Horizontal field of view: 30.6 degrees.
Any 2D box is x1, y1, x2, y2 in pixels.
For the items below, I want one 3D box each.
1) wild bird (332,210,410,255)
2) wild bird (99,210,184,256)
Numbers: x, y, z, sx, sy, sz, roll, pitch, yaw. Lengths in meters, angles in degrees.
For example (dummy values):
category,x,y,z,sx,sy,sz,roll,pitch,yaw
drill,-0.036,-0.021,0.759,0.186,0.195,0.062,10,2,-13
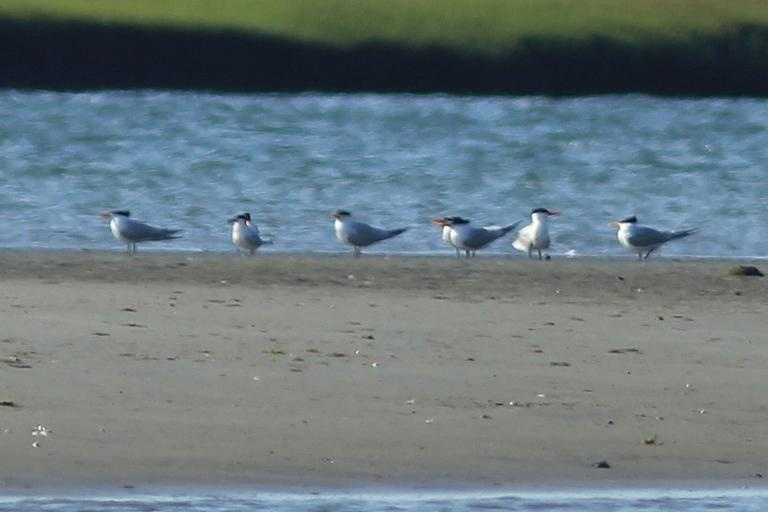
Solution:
category,x,y,z,sx,sy,sz,roll,pitch,yaw
wild bird,-0.347,-0.460,29.201,1.924,0.844,0.559,-1,15,-34
wild bird,-4.979,-0.372,28.702,1.242,0.942,1.569,-5,24,-15
